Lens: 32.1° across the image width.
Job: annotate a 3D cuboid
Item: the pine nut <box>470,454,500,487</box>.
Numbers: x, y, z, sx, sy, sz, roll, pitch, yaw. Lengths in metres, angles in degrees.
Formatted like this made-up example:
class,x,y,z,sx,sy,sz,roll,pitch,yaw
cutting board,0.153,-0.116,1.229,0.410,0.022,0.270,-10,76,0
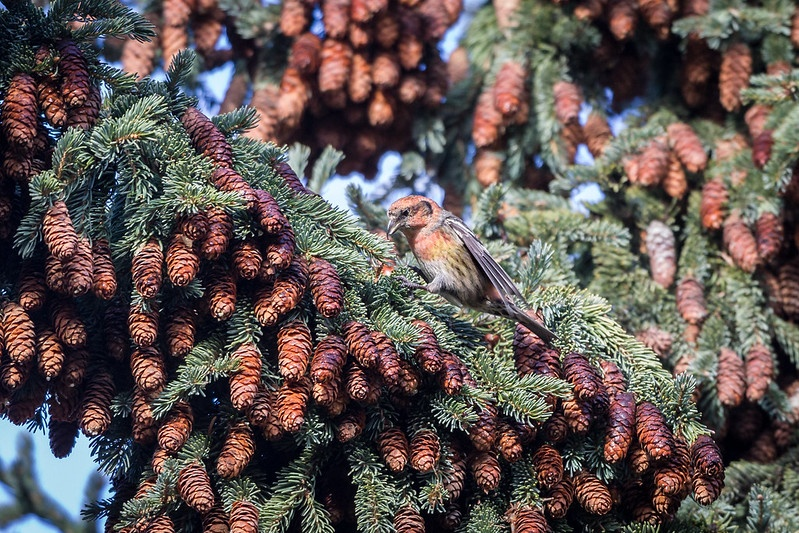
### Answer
class,x,y,z,sx,sy,sz,roll,pitch,yaw
pine nut,0.402,0.911,6.218,0.144,0.163,0.096,19,-37,-30

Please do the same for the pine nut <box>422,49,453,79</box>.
class,x,y,z,sx,sy,sz,roll,pitch,yaw
pine nut,0.204,-1.074,7.357,0.081,0.128,0.132,7,-23,23

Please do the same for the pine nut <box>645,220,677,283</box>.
class,x,y,z,sx,sy,sz,roll,pitch,yaw
pine nut,1.360,-0.064,7.151,0.149,0.335,0.159,-13,-33,18

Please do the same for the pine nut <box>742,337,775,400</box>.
class,x,y,z,sx,sy,sz,roll,pitch,yaw
pine nut,1.797,0.498,6.958,0.114,0.300,0.116,39,-40,-24

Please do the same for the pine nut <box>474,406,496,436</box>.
class,x,y,z,sx,sy,sz,roll,pitch,yaw
pine nut,0.392,0.669,6.232,0.112,0.142,0.047,9,-32,-18

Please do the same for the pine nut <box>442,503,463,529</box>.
class,x,y,z,sx,sy,sz,roll,pitch,yaw
pine nut,0.234,1.120,6.260,0.082,0.105,0.094,-21,-37,28

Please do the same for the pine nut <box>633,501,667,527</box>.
class,x,y,z,sx,sy,sz,roll,pitch,yaw
pine nut,1.124,1.112,6.221,0.111,0.099,0.054,3,3,41

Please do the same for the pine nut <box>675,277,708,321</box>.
class,x,y,z,sx,sy,sz,roll,pitch,yaw
pine nut,1.478,0.159,7.047,0.113,0.236,0.096,-25,-27,18

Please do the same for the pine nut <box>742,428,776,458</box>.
class,x,y,z,sx,sy,sz,roll,pitch,yaw
pine nut,1.849,0.918,7.100,0.161,0.173,0.021,-11,-32,13

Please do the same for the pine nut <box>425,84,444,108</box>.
class,x,y,z,sx,sy,sz,roll,pitch,yaw
pine nut,0.188,-0.907,7.338,0.100,0.089,0.083,1,-10,3

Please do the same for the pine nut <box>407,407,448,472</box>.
class,x,y,z,sx,sy,sz,roll,pitch,yaw
pine nut,0.099,0.764,6.213,0.128,0.263,0.130,-13,-36,-23

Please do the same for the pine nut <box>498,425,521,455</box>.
class,x,y,z,sx,sy,sz,roll,pitch,yaw
pine nut,0.492,0.775,6.237,0.064,0.132,0.072,-6,-37,-33

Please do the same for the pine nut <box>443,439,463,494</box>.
class,x,y,z,sx,sy,sz,roll,pitch,yaw
pine nut,0.249,0.898,6.211,0.084,0.249,0.063,0,-31,-3

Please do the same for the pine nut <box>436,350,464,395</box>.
class,x,y,z,sx,sy,sz,roll,pitch,yaw
pine nut,0.233,0.471,6.294,0.087,0.198,0.084,7,-49,-16

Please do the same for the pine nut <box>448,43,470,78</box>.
class,x,y,z,sx,sy,sz,roll,pitch,yaw
pine nut,0.320,-1.106,7.593,0.099,0.199,0.061,10,-14,6
